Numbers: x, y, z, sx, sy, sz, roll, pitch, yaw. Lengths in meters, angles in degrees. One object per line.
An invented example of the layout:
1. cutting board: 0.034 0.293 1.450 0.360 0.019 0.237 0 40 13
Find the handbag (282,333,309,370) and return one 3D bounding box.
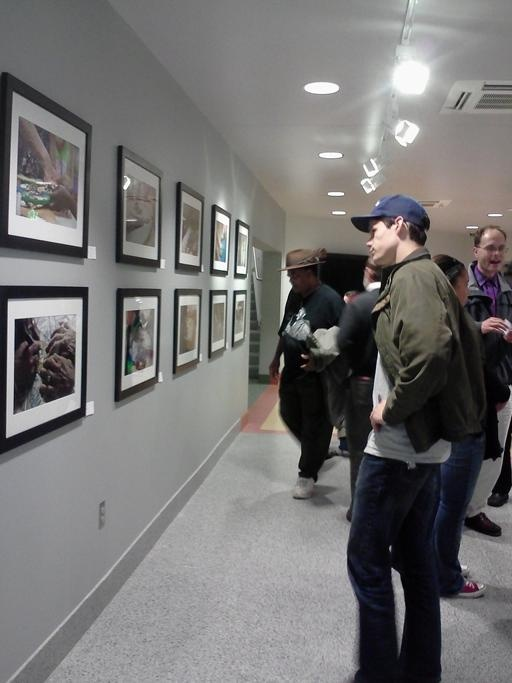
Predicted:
1. handbag: 0.268 0.076 3.184 0.095 0.259 0.482 1 0 -14

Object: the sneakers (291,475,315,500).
1. sneakers: 0.347 1.029 3.220 0.211 0.138 0.185 1 -1 -16

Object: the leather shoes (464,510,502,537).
1. leather shoes: 1.360 1.088 2.706 0.216 0.116 0.089 8 14 34

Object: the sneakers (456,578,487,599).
1. sneakers: 0.958 1.100 1.994 0.127 0.079 0.060 -3 0 -2

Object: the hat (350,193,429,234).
1. hat: 0.396 -0.379 1.383 0.211 0.133 0.152 18 11 8
